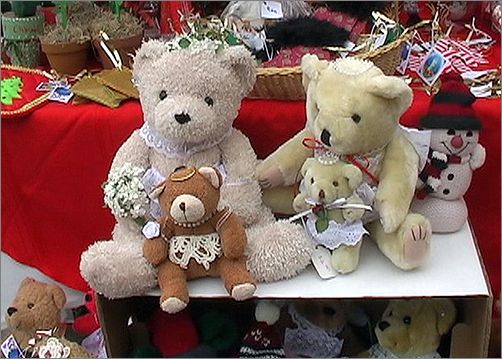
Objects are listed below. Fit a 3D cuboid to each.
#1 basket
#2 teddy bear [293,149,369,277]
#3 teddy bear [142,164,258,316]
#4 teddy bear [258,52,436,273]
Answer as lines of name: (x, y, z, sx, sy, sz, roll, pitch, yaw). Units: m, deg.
basket: (0.259, -0.369, 1.559, 0.359, 0.098, 0.295, -1, 35, 10)
teddy bear: (0.238, 0.094, 1.376, 0.240, 0.297, 0.210, 9, 31, 30)
teddy bear: (-0.155, 0.177, 1.245, 0.288, 0.328, 0.287, -17, 47, -14)
teddy bear: (0.308, -0.066, 1.413, 0.604, 0.598, 0.414, 18, 41, 34)
